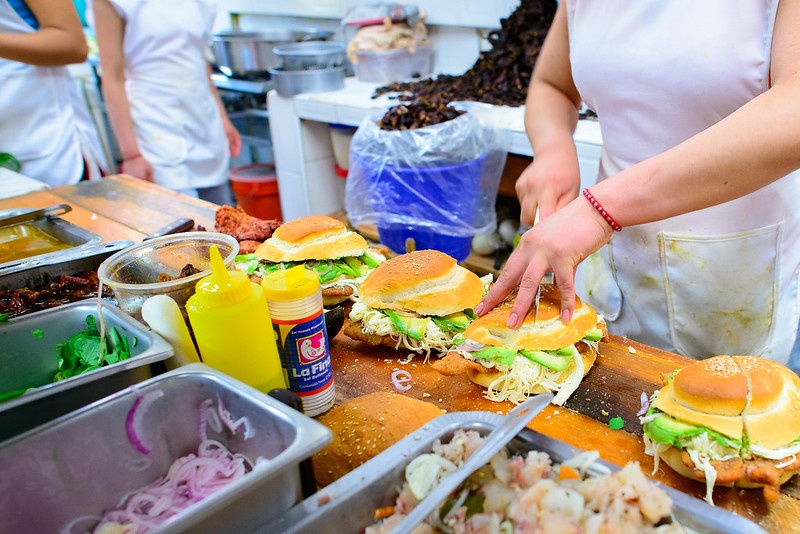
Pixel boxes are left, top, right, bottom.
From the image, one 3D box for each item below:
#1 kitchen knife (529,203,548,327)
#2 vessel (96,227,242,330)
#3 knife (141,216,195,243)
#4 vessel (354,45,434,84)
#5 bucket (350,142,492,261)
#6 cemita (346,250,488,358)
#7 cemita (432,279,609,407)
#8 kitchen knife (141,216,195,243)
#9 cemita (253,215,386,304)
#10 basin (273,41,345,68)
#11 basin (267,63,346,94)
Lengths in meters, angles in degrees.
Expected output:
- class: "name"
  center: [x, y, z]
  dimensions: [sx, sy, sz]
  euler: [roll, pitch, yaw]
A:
- class: "kitchen knife"
  center: [0.454, -0.036, 1.797]
  dimensions: [0.069, 0.465, 0.024]
  euler: [12, -22, -25]
- class: "vessel"
  center: [-0.774, 0.091, 1.935]
  dimensions: [0.383, 0.139, 0.385]
  euler: [20, 41, 37]
- class: "knife"
  center: [-1.007, -0.157, 2.359]
  dimensions: [0.090, 0.046, 0.292]
  euler: [8, 24, 27]
- class: "vessel"
  center: [0.013, -1.626, 4.587]
  dimensions: [0.568, 0.195, 0.404]
  euler: [-16, 23, -39]
- class: "bucket"
  center: [0.137, -0.388, 3.321]
  dimensions: [0.755, 0.538, 0.700]
  euler: [-1, 9, 0]
- class: "cemita"
  center: [0.055, 0.130, 1.866]
  dimensions: [0.358, 0.184, 0.405]
  euler: [11, 31, 24]
- class: "cemita"
  center: [0.394, 0.191, 1.682]
  dimensions: [0.401, 0.141, 0.378]
  euler: [-3, 26, 37]
- class: "kitchen knife"
  center: [-1.007, -0.157, 2.359]
  dimensions: [0.090, 0.046, 0.292]
  euler: [8, 24, 27]
- class: "cemita"
  center: [-0.349, -0.077, 2.177]
  dimensions: [0.385, 0.182, 0.390]
  euler: [13, 21, 37]
- class: "basin"
  center: [-0.751, -1.686, 4.360]
  dimensions: [0.370, 0.117, 0.363]
  euler: [-1, 24, 0]
- class: "basin"
  center: [-0.755, -1.467, 4.363]
  dimensions: [0.367, 0.135, 0.323]
  euler: [-6, 21, 6]
